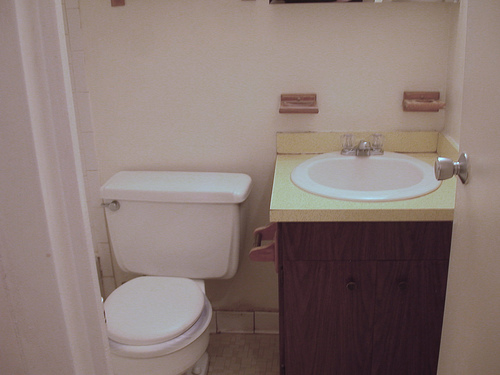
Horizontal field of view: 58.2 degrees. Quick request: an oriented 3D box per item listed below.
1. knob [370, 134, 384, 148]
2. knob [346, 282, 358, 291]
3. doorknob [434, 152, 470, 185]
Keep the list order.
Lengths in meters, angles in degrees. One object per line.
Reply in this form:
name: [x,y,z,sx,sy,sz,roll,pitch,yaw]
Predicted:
knob: [0.518,-0.195,1.832,0.056,0.055,0.116,2,15,15]
knob: [0.321,0.308,1.405,0.036,0.032,0.010,-4,17,-7]
doorknob: [0.413,-0.038,0.913,0.068,0.064,0.050,3,4,14]
